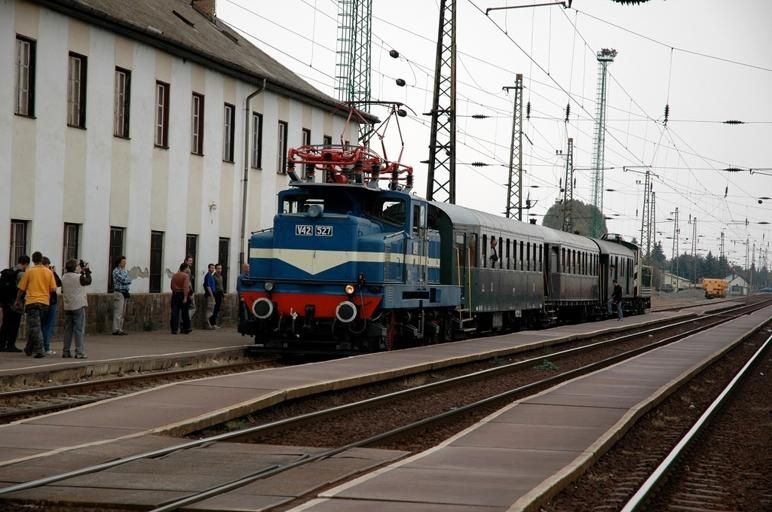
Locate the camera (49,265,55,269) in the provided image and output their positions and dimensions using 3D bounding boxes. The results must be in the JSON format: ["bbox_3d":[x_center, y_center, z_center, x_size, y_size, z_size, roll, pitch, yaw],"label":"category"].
[{"bbox_3d":[-9.462,0.328,24.910,0.141,0.062,0.184,2,-2,-11],"label":"camera"}]

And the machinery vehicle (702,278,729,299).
[{"bbox_3d":[48.237,4.839,128.789,3.052,2.842,5.226,1,-5,15],"label":"machinery vehicle"}]

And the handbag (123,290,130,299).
[{"bbox_3d":[-7.940,1.196,26.661,0.260,0.220,0.383,-4,2,4],"label":"handbag"}]
